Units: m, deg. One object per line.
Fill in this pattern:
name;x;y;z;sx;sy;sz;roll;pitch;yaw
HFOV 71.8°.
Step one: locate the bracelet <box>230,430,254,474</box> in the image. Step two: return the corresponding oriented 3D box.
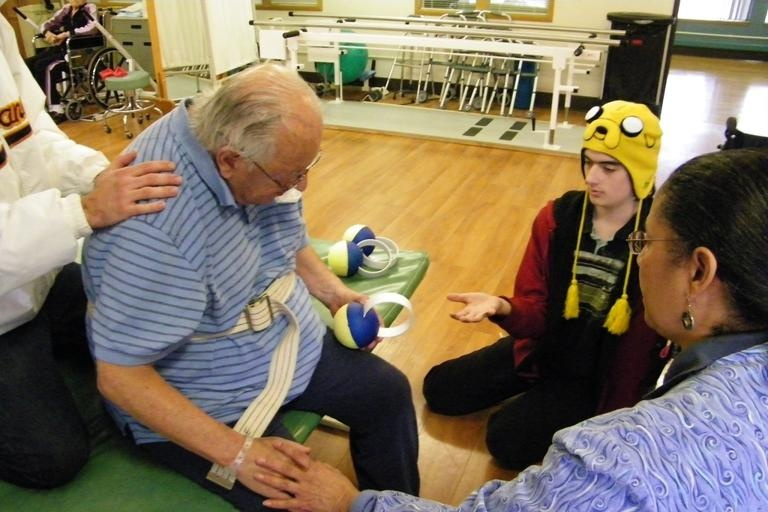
bracelet;-0.392;0.557;1.464;0.022;0.088;0.088;22;-2;-20
